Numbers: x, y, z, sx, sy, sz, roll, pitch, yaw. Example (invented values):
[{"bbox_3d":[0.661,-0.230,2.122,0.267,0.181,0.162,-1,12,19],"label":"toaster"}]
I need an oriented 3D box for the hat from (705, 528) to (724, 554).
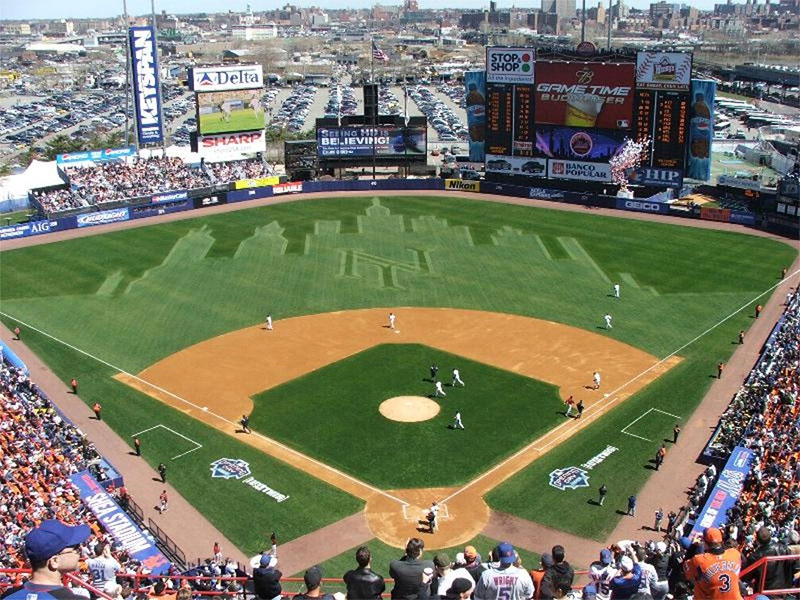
[{"bbox_3d":[8.341,6.257,20.986,0.542,0.317,0.669,-3,29,18],"label":"hat"}]

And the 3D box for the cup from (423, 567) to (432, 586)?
[{"bbox_3d":[0.771,7.799,22.718,0.240,0.372,0.452,2,16,8],"label":"cup"}]

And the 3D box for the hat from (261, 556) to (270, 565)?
[{"bbox_3d":[-3.870,7.340,22.479,0.280,0.260,0.273,9,37,1],"label":"hat"}]
